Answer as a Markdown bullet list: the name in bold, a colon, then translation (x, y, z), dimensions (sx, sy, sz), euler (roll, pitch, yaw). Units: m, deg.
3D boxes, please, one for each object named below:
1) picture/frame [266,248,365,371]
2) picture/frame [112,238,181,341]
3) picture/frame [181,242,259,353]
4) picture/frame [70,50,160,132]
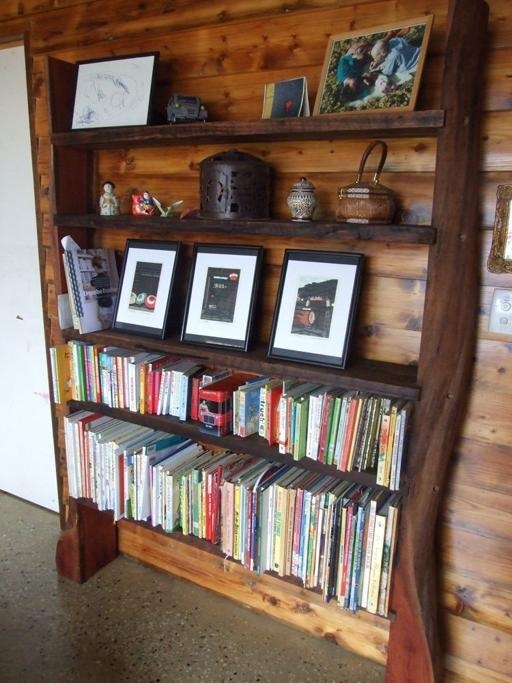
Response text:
- **picture/frame**: translation (0.172, -0.081, 1.573), dimensions (0.323, 0.369, 0.032), euler (12, -3, 31)
- **picture/frame**: translation (-0.354, -0.165, 1.899), dimensions (0.329, 0.376, 0.043), euler (11, -3, 32)
- **picture/frame**: translation (-0.103, -0.126, 1.736), dimensions (0.329, 0.374, 0.043), euler (9, -4, 28)
- **picture/frame**: translation (-0.439, -0.780, 1.805), dimensions (0.420, 0.269, 0.040), euler (1, -2, 33)
